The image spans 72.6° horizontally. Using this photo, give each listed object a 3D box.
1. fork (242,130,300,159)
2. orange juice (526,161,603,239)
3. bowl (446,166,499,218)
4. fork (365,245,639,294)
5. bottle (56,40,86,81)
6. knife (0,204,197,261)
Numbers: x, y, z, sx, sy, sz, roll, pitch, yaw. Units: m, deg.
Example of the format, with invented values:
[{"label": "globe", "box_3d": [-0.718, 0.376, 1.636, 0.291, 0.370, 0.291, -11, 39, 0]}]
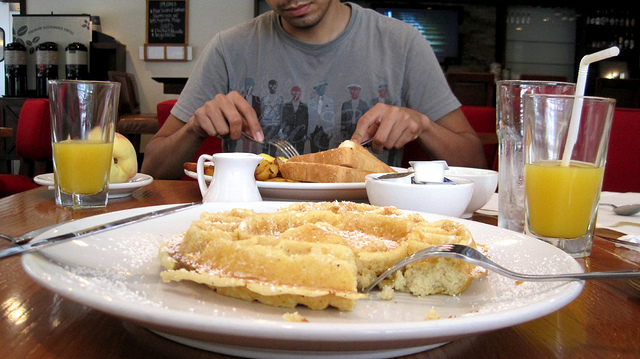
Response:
[{"label": "fork", "box_3d": [-0.229, -0.157, 2.023, 0.056, 0.070, 0.489, -17, 27, -35]}, {"label": "orange juice", "box_3d": [0.563, 0.067, 1.033, 0.183, 0.187, 0.193, 6, -3, 9]}, {"label": "bowl", "box_3d": [0.409, 0.017, 1.224, 0.157, 0.107, 0.157, 0, 7, 0]}, {"label": "fork", "box_3d": [0.309, 0.173, 0.775, 0.445, 0.091, 0.056, 4, 10, 10]}, {"label": "bottle", "box_3d": [-3.555, -1.717, 6.331, 0.239, 0.525, 0.326, -6, 13, -40]}, {"label": "knife", "box_3d": [-0.451, 0.113, 0.899, 0.331, 0.041, 0.016, -17, 46, -40]}]
